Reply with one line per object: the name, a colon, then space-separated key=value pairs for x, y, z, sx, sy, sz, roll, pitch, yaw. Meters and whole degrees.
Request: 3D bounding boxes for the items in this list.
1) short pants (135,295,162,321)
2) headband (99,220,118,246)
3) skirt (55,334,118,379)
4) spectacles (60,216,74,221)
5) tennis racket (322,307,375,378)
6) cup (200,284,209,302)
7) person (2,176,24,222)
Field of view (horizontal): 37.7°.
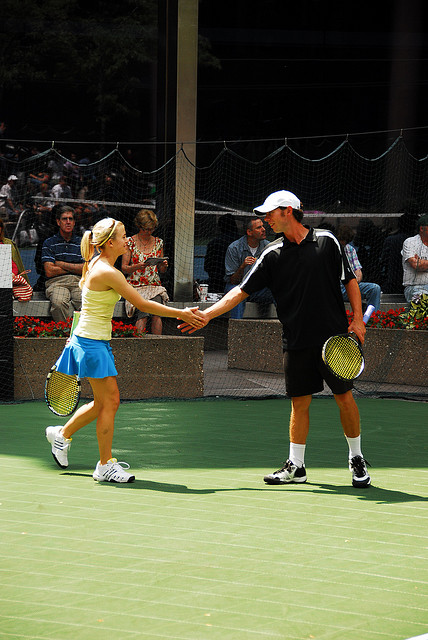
short pants: x=-1.000 y=-0.180 z=9.469 sx=0.358 sy=0.411 sz=0.563 roll=4 pitch=4 yaw=8
headband: x=-0.720 y=-0.593 z=4.271 sx=0.027 sy=0.137 sz=0.107 roll=30 pitch=2 yaw=-5
skirt: x=-0.896 y=0.251 z=4.348 sx=0.479 sy=0.294 sz=0.278 roll=4 pitch=4 yaw=3
spectacles: x=-2.235 y=-1.535 z=9.536 sx=0.176 sy=0.057 sz=0.078 roll=2 pitch=4 yaw=-21
tennis racket: x=0.831 y=0.228 z=3.978 sx=0.130 sy=0.268 sz=0.414 roll=7 pitch=5 yaw=44
cup: x=-0.196 y=-0.499 z=11.580 sx=0.138 sy=0.323 sz=0.229 roll=4 pitch=4 yaw=-2
person: x=-3.440 y=-2.076 z=10.711 sx=0.329 sy=0.778 sz=0.180 roll=2 pitch=4 yaw=-18
